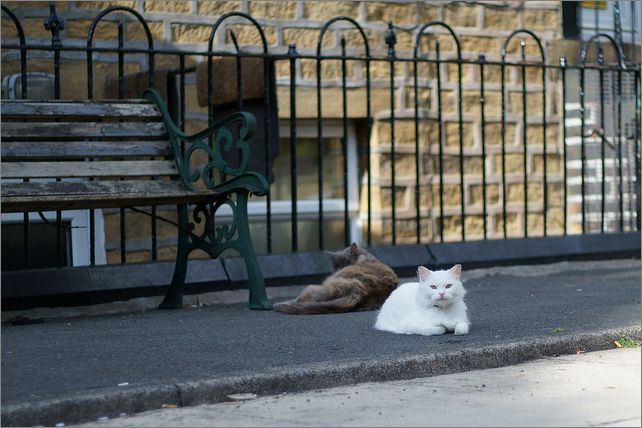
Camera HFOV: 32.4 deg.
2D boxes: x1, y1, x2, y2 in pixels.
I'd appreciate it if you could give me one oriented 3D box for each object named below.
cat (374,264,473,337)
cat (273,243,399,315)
[{"bbox_3d":[0.816,0.692,8.682,0.487,0.421,0.668,4,-9,-33],"label":"cat"},{"bbox_3d":[0.126,0.549,9.357,1.002,0.559,0.491,-4,2,-38],"label":"cat"}]
